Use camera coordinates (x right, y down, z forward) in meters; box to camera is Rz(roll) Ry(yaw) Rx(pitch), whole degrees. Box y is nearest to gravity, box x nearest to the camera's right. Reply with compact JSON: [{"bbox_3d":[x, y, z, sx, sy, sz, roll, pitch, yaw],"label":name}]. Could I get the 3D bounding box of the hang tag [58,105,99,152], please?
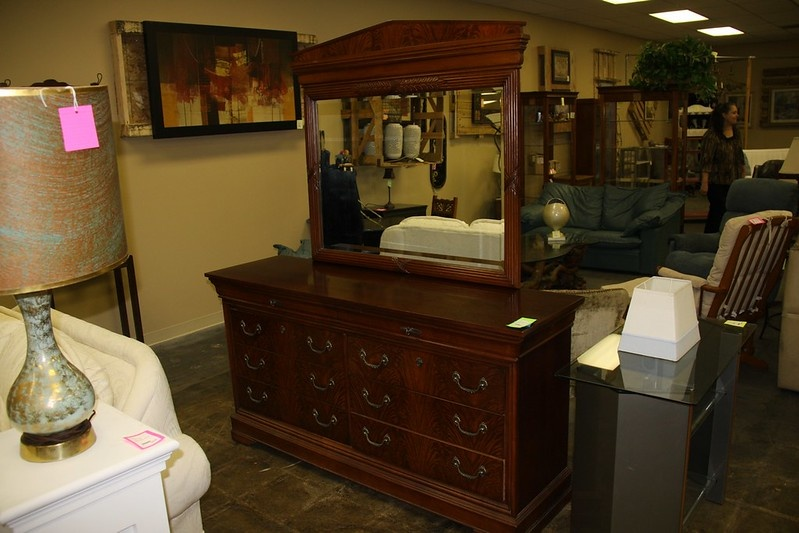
[{"bbox_3d":[-1.122,-0.497,2.049,0.129,0.169,0.022,-3,0,12],"label":"hang tag"}]
